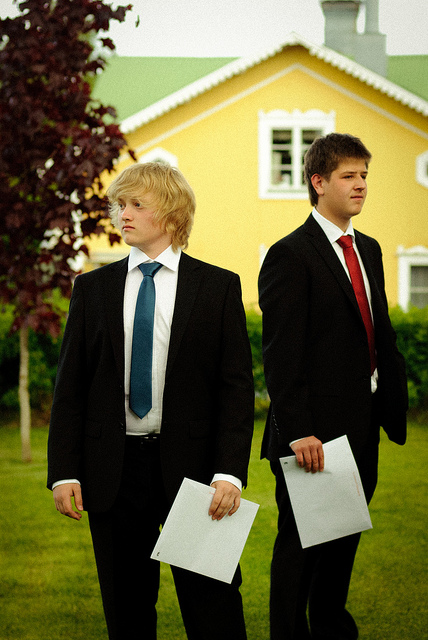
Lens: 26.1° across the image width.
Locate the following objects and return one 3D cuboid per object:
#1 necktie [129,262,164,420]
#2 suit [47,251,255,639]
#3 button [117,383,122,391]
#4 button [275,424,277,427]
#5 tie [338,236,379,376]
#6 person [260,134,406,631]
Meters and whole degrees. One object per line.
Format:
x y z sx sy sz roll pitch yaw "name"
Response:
-0.232 0.063 3.165 0.085 0.522 0.150 3 3 -1 "necktie"
-0.218 0.444 3.202 0.692 1.358 0.300 3 3 1 "suit"
-0.319 0.225 3.112 0.015 0.024 0.006 -4 -1 6 "button"
0.233 0.394 3.448 0.005 0.016 0.016 -3 -22 -7 "button"
0.543 -0.104 3.578 0.091 0.718 0.093 -8 -21 9 "tie"
0.441 0.289 3.579 0.518 2.018 0.535 2 3 -24 "person"
